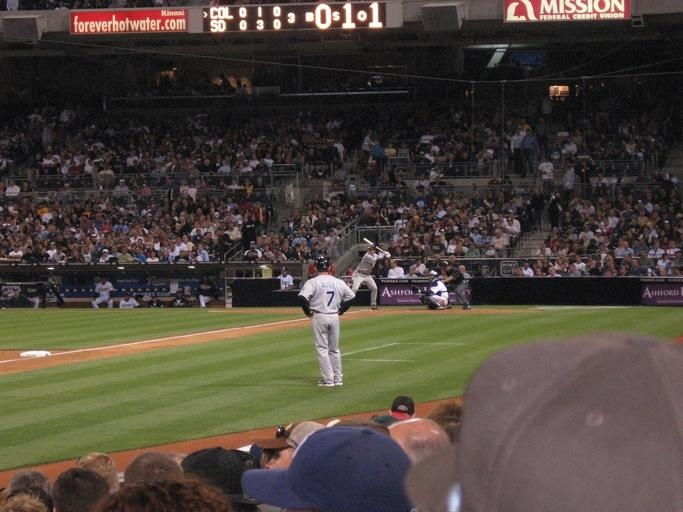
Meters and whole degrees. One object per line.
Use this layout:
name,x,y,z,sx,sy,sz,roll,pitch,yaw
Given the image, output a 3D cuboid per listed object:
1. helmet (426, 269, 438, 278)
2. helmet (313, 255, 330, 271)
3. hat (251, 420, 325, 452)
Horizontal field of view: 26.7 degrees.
helmet,3.806,0.622,59.008,0.288,0.310,0.242,11,3,-21
helmet,-0.651,0.116,46.345,0.358,0.489,0.491,2,45,1
hat,-1.436,4.704,38.206,1.280,0.455,0.835,-6,-7,5
